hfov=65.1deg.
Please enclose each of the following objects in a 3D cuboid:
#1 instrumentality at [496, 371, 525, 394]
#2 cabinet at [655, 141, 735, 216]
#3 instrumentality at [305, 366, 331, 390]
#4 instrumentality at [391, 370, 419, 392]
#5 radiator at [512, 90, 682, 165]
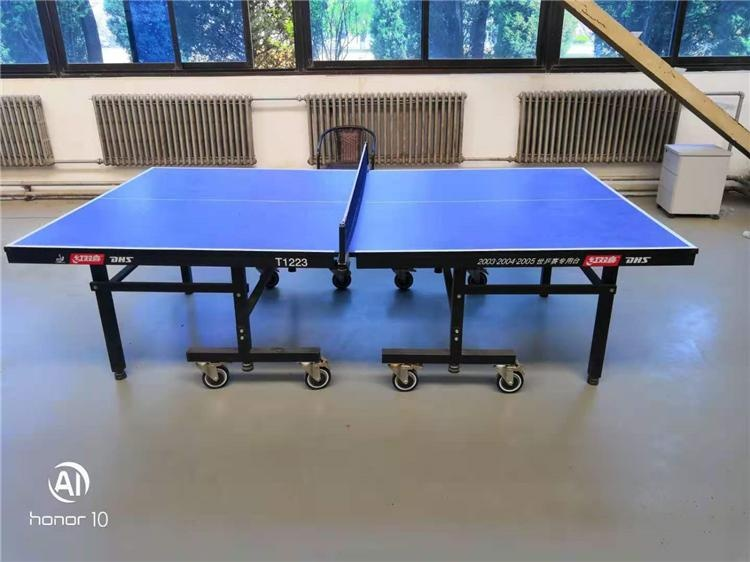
[{"bbox_3d":[0.860,0.644,3.730,0.130,0.138,0.055,1,8,4],"label":"instrumentality"},{"bbox_3d":[3.396,-1.089,6.308,0.549,0.710,0.515,-1,23,3],"label":"cabinet"},{"bbox_3d":[-0.364,0.621,3.774,0.137,0.146,0.060,-1,11,-3],"label":"instrumentality"},{"bbox_3d":[0.200,0.645,3.769,0.173,0.121,0.153,-3,-28,3],"label":"instrumentality"},{"bbox_3d":[2.312,-1.833,6.857,0.240,0.905,1.696,-2,11,-41],"label":"radiator"}]
